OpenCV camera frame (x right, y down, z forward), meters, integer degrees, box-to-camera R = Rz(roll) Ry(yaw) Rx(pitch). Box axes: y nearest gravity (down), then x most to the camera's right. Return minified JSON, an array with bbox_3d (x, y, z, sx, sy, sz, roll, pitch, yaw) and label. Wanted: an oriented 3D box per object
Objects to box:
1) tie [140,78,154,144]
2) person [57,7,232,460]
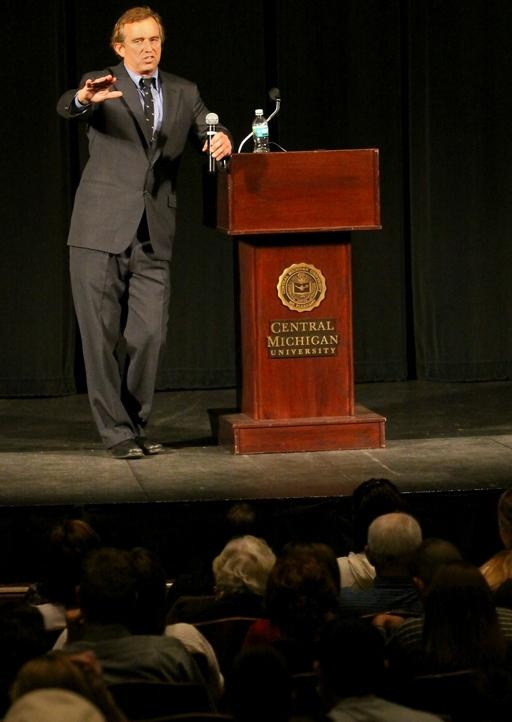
[{"bbox_3d":[-0.371,-0.866,2.897,0.052,0.206,0.025,0,0,-40],"label":"tie"},{"bbox_3d":[-0.411,-0.418,2.871,0.499,1.484,0.514,0,0,-4],"label":"person"}]
